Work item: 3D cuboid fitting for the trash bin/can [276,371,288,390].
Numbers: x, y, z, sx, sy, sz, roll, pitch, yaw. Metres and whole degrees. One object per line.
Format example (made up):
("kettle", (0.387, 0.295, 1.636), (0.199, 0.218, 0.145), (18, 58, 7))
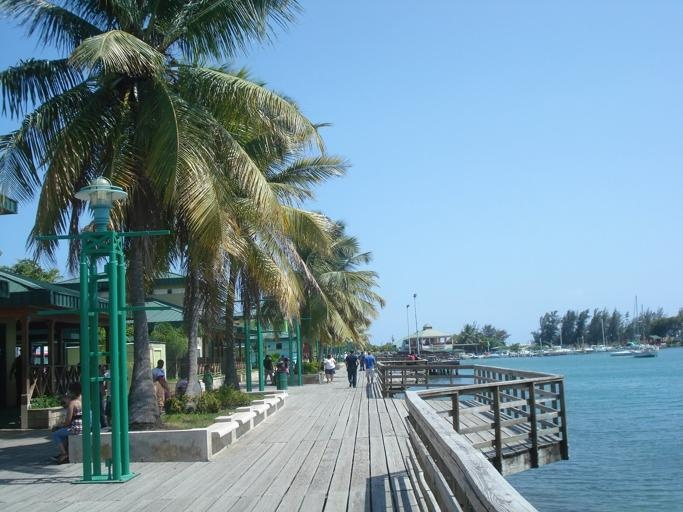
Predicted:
("trash bin/can", (-2.645, 5.510, 28.731), (0.614, 1.012, 0.671), (-1, -9, 0))
